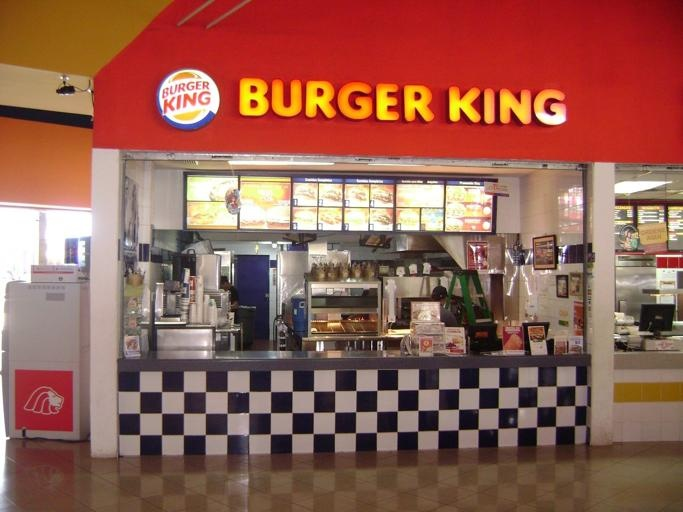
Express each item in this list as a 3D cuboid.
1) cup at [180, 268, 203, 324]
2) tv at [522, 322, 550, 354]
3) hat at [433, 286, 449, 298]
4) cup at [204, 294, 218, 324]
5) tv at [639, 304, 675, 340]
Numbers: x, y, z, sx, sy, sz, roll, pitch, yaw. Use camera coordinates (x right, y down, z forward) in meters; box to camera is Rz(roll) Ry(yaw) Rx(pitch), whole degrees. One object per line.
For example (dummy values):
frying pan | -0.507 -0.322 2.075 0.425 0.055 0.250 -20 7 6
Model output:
cup | -1.582 0.442 7.122 0.232 0.426 0.317 -2 0 -13
tv | 2.028 0.828 7.048 0.253 0.269 0.171 -14 9 34
hat | 1.213 0.442 8.592 0.181 0.140 0.268 2 1 31
cup | -1.399 0.556 7.179 0.136 0.246 0.421 -2 1 -11
tv | 3.441 0.713 7.460 0.389 0.352 0.133 1 4 -2
